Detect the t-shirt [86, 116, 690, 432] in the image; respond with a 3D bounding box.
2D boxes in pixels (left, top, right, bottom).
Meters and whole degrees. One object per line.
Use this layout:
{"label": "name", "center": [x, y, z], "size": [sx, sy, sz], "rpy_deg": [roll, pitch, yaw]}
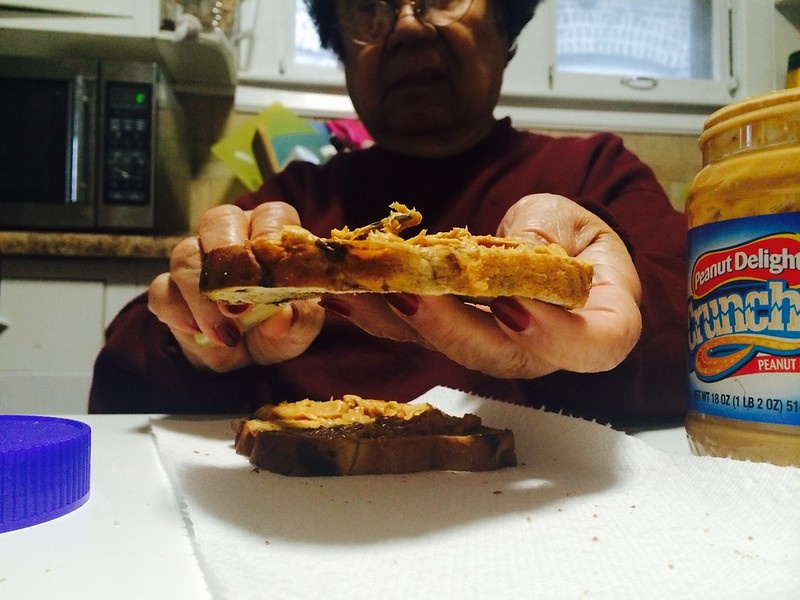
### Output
{"label": "t-shirt", "center": [0.032, -0.060, 2.024], "size": [1.124, 0.399, 0.859], "rpy_deg": [-2, -1, -5]}
